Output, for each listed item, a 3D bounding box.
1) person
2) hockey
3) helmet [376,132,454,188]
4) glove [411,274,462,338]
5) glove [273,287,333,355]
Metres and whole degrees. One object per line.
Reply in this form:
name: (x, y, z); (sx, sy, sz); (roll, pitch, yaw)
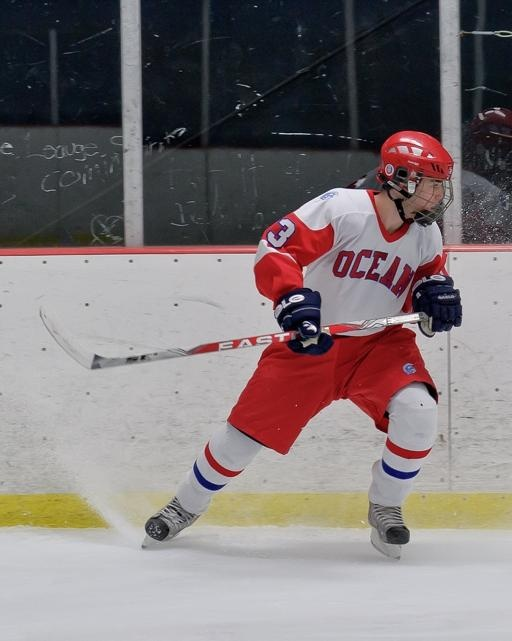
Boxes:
person: (0.196, 0.064, 2.292); (0.811, 1.041, 0.400); (3, 1, -6)
hockey: (-0.118, 0.053, 2.561); (1.197, 0.118, 0.160); (-2, 38, 13)
helmet: (0.477, -0.462, 2.343); (0.194, 0.143, 0.227); (-21, 28, -37)
glove: (0.533, -0.045, 2.351); (0.179, 0.156, 0.080); (2, -10, 1)
glove: (0.121, 0.003, 2.112); (0.168, 0.166, 0.081); (-19, -7, 19)
